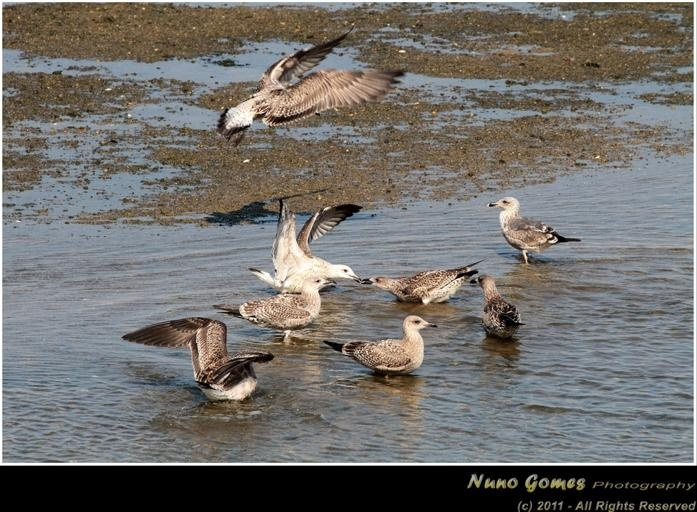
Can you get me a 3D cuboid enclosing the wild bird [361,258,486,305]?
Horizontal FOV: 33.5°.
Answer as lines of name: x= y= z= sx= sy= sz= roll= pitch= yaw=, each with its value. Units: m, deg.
wild bird: x=1.435 y=0.557 z=22.711 sx=2.370 sy=0.591 sz=0.815 roll=-9 pitch=13 yaw=-12
